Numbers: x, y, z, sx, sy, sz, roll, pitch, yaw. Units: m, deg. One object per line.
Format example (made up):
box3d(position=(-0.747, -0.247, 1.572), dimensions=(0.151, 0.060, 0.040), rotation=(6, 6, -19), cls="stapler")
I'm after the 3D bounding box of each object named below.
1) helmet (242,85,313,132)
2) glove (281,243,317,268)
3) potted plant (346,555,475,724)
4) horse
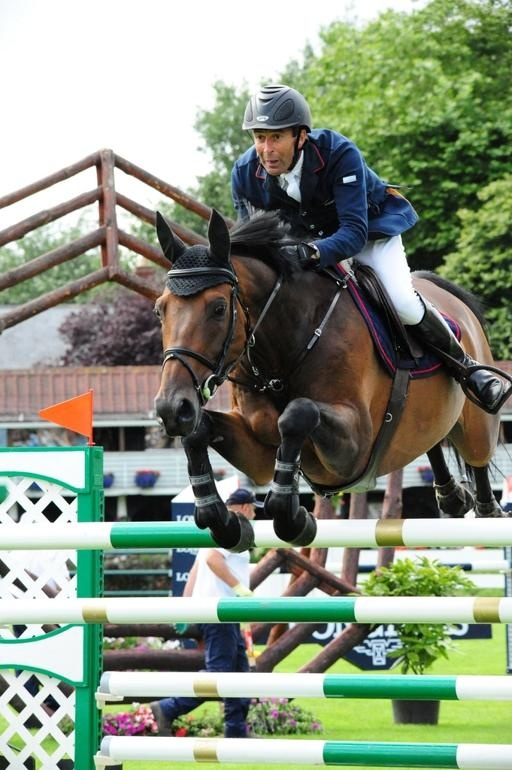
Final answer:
box3d(position=(0.068, -0.968, 3.500), dimensions=(0.228, 0.200, 0.209), rotation=(-2, 1, -1), cls="helmet")
box3d(position=(0.143, -0.438, 3.342), dimensions=(0.083, 0.066, 0.097), rotation=(38, -14, 15), cls="glove")
box3d(position=(0.851, 1.364, 5.282), dimensions=(0.741, 0.822, 0.756), rotation=(15, -20, -25), cls="potted plant")
box3d(position=(0.378, 0.045, 3.767), dimensions=(0.610, 1.011, 2.367), rotation=(-2, -4, 36), cls="horse")
